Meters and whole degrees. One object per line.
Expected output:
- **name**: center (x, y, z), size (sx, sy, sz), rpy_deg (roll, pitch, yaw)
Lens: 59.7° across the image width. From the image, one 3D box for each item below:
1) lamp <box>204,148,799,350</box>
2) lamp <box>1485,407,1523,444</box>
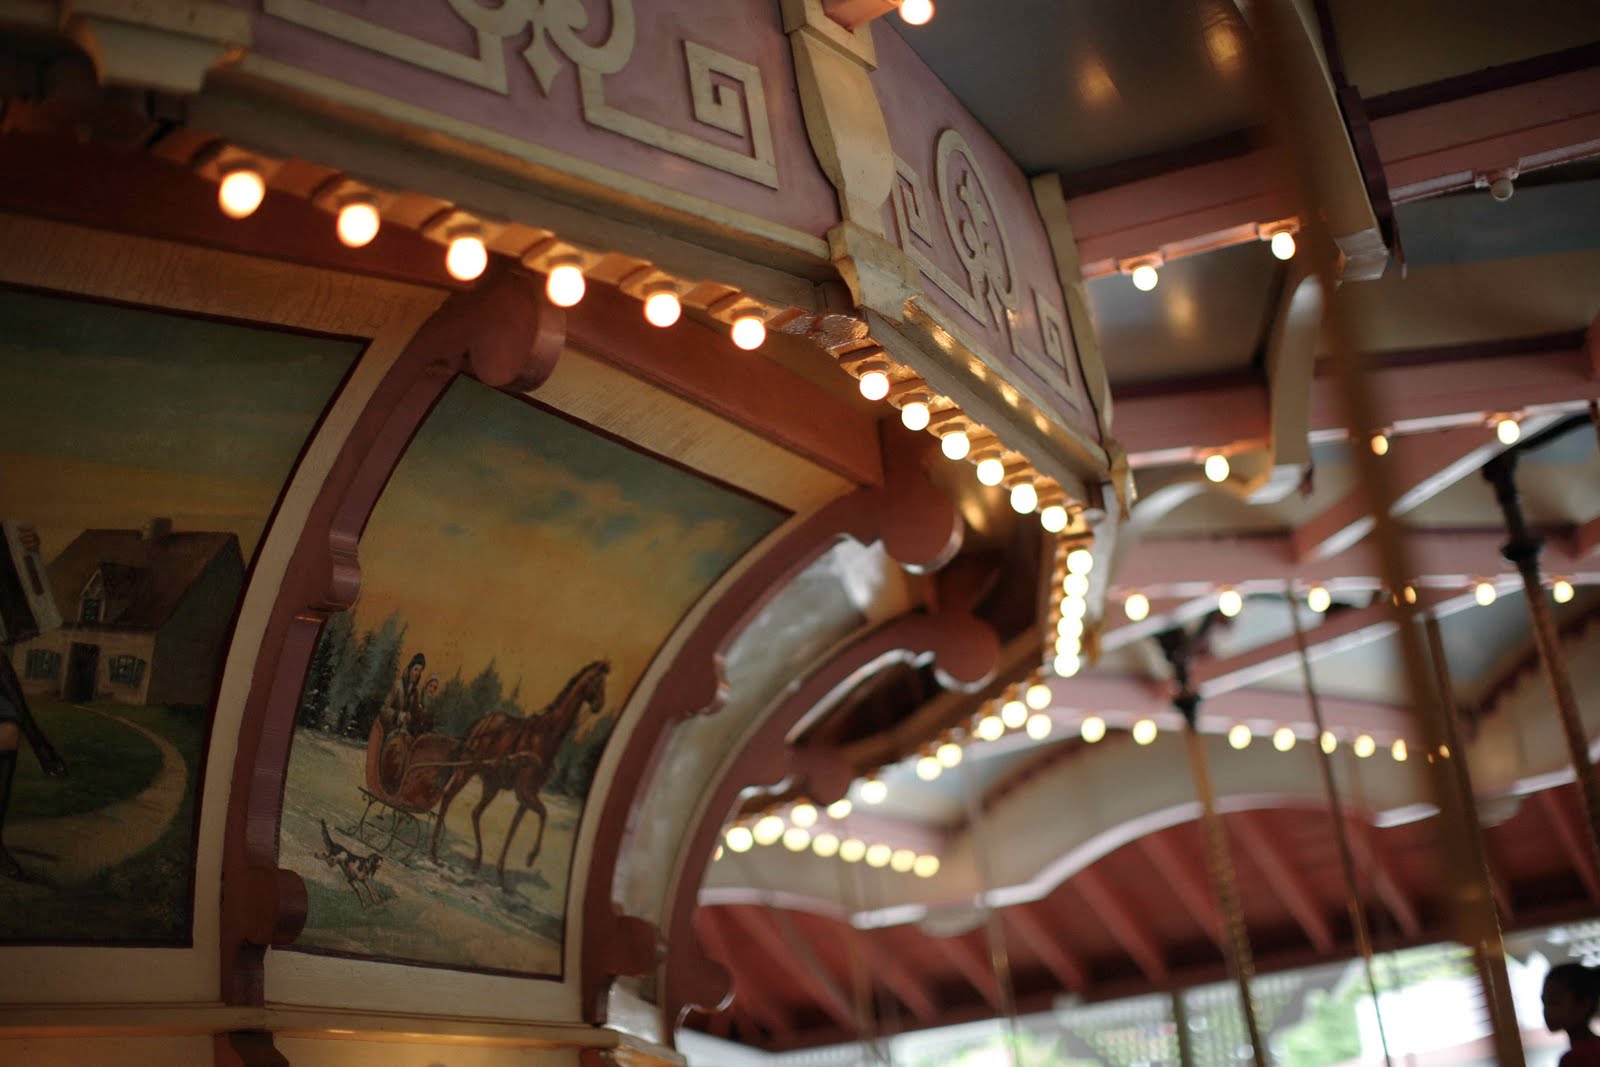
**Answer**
- **lamp**: center (-0.795, -0.795, 3.982), size (1.739, 0.259, 0.229), rpy_deg (15, -26, -28)
- **lamp**: center (4.424, -0.664, 8.766), size (0.184, 0.166, 0.347), rpy_deg (-13, -27, 31)
